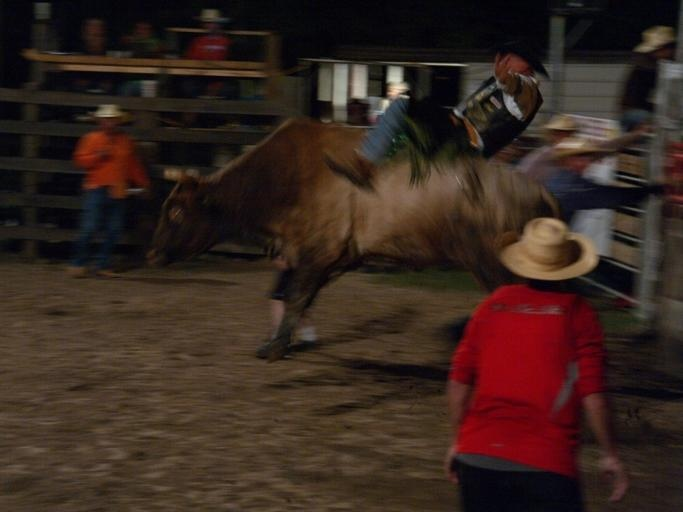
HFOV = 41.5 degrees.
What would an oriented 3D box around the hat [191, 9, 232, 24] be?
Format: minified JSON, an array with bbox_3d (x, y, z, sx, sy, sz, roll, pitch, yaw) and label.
[{"bbox_3d":[-1.656,-3.158,11.619,0.365,0.193,0.663,-1,13,-8],"label":"hat"}]

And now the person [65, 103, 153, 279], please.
[{"bbox_3d":[-2.802,-0.807,10.669,0.967,2.029,0.695,-2,18,-10],"label":"person"}]

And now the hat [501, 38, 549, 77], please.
[{"bbox_3d":[1.425,-1.584,7.102,0.393,0.272,0.388,3,14,7],"label":"hat"}]

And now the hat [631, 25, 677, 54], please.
[{"bbox_3d":[3.207,-2.267,9.040,0.468,0.129,0.310,-26,19,-14],"label":"hat"}]
